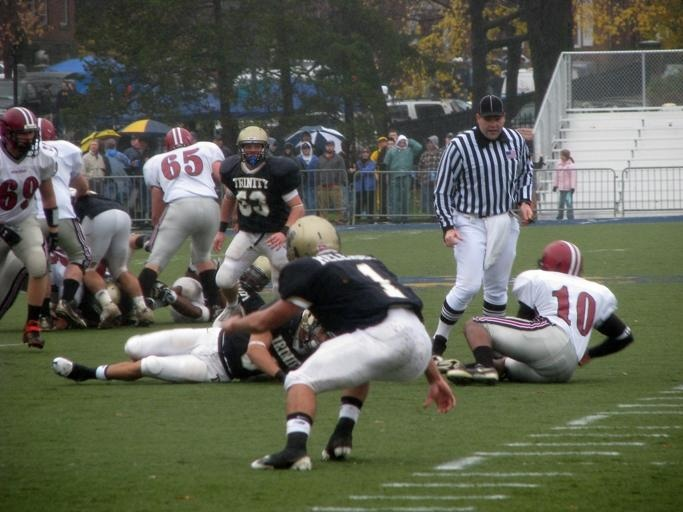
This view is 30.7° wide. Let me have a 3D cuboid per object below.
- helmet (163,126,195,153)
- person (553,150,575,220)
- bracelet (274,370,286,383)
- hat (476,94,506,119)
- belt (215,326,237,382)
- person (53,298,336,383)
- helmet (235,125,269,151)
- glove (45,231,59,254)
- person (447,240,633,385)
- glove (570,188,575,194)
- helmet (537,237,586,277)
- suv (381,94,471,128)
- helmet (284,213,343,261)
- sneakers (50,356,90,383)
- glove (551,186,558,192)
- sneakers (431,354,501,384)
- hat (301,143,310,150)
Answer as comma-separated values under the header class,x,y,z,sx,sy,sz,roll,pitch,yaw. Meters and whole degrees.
class,x,y,z,sx,sy,sz,roll,pitch,yaw
helmet,-1.807,-1.304,13.780,0.317,0.266,0.236,-27,19,-12
person,4.544,-1.436,25.326,0.443,1.409,1.030,0,8,9
bracelet,-0.461,0.917,9.384,0.092,0.084,0.108,0,-7,-3
hat,1.330,-1.339,11.111,0.240,0.193,0.355,2,8,19
belt,-0.948,0.817,10.227,0.134,0.444,0.330,6,-17,2
person,-1.146,0.690,10.353,2.201,0.729,1.249,-2,19,0
helmet,-0.868,-1.174,12.312,0.207,0.203,0.251,1,8,2
glove,-2.842,-0.111,12.279,0.103,0.325,0.077,-9,53,-37
person,1.647,0.486,10.495,1.625,1.204,0.801,5,-12,11
glove,4.692,-1.325,25.265,0.109,0.105,0.059,3,14,12
helmet,1.826,0.039,10.473,0.347,0.307,0.266,2,3,0
suv,2.632,-4.558,38.502,2.218,1.052,1.241,-7,10,10
helmet,-0.206,-0.116,8.865,0.409,0.411,0.336,3,12,21
sneakers,-2.192,0.936,10.146,0.166,0.115,0.281,33,15,38
glove,4.353,-1.370,25.464,0.124,0.122,0.094,-1,-2,1
sneakers,1.023,0.933,10.109,0.489,0.180,0.221,15,44,10
hat,-0.702,-2.197,24.773,0.174,0.137,0.271,-1,8,-2
